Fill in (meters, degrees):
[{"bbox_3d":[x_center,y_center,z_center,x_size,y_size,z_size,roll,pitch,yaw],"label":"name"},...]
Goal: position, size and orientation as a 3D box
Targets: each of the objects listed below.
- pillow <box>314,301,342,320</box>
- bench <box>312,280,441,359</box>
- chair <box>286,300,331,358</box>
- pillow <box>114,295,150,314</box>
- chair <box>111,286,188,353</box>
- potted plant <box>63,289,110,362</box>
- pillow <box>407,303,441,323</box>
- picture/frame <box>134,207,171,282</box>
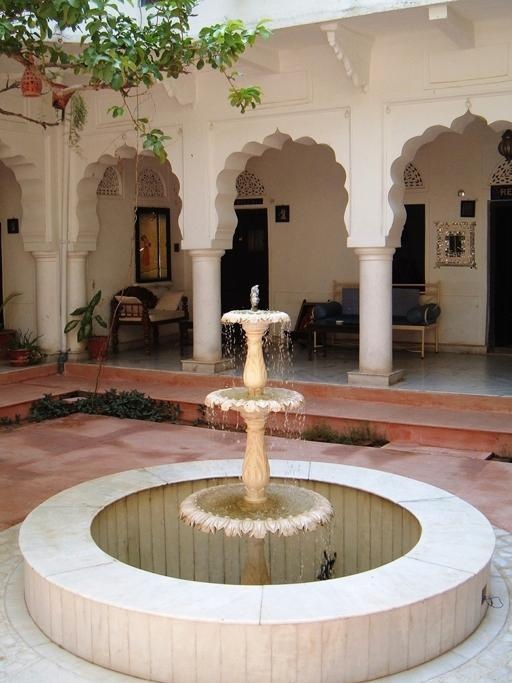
[{"bbox_3d":[1.217,-0.494,9.661,0.330,0.281,0.778,0,5,26],"label":"pillow"},{"bbox_3d":[1.934,-0.343,9.641,2.121,1.187,1.965,-1,5,15],"label":"bench"},{"bbox_3d":[0.790,-0.272,10.592,0.445,0.877,0.656,6,2,-43],"label":"chair"},{"bbox_3d":[-2.231,-0.646,10.383,0.404,0.328,0.363,0,5,31],"label":"pillow"},{"bbox_3d":[-1.952,-0.387,10.594,0.522,0.908,1.226,2,6,17],"label":"chair"},{"bbox_3d":[-2.829,-0.301,9.721,0.641,1.051,0.802,-4,5,-17],"label":"potted plant"},{"bbox_3d":[2.601,-0.407,9.188,0.260,0.320,0.714,2,6,41],"label":"pillow"},{"bbox_3d":[-1.997,-1.866,11.231,0.095,1.751,1.346,8,12,30],"label":"picture/frame"}]
